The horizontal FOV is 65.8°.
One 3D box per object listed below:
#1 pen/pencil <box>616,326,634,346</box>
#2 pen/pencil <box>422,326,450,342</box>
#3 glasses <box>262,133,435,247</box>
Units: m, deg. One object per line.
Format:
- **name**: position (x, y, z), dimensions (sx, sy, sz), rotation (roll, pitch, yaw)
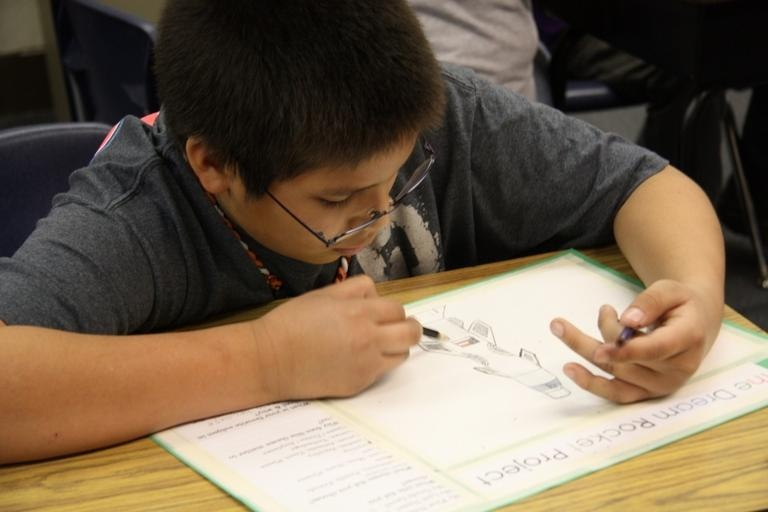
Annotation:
- **pen/pencil**: position (0.307, 0.095, 0.762), dimensions (0.014, 0.011, 0.053), rotation (45, 32, 4)
- **pen/pencil**: position (0.074, 0.112, 0.860), dimensions (0.034, 0.008, 0.007), rotation (21, 54, 20)
- **glasses**: position (-0.030, -0.112, 0.978), dimensions (0.214, 0.061, 0.215), rotation (43, 77, 9)
